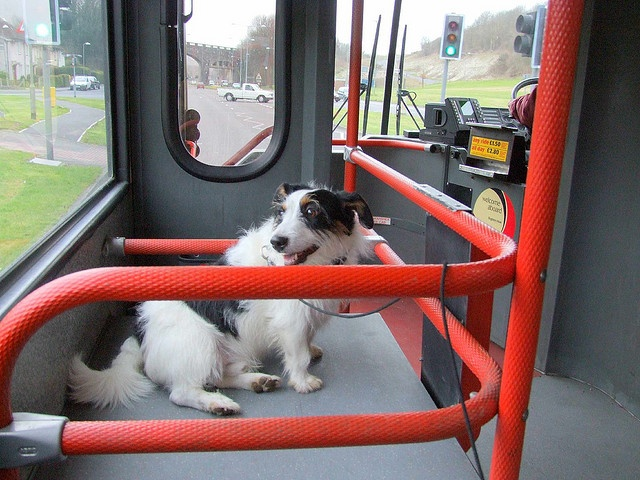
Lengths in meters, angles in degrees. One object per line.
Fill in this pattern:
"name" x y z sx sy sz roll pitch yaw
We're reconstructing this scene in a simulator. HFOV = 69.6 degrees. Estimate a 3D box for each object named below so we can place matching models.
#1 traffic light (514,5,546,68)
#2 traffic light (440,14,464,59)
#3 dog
"traffic light" 1.700 -1.660 3.749 0.236 0.569 0.543 1 5 25
"traffic light" 1.591 -2.426 5.521 0.326 0.538 0.101 -3 4 -15
"dog" -0.488 0.256 2.218 1.259 1.110 0.779 9 -3 -21
